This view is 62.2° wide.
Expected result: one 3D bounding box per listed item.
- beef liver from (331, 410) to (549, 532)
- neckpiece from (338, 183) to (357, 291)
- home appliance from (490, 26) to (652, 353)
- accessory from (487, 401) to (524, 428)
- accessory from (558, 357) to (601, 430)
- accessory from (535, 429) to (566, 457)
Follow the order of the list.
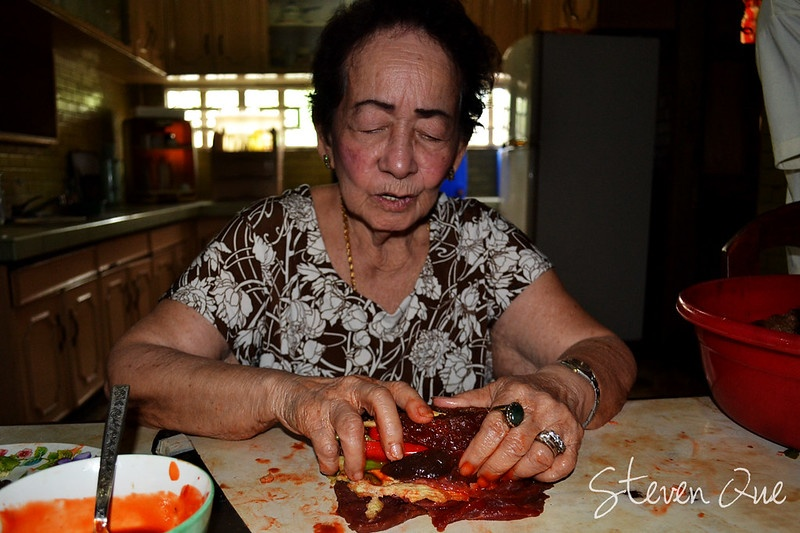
[{"bbox_3d":[0.104,0.507,1.669,0.535,0.210,0.246,-1,8,-7],"label":"beef liver"},{"bbox_3d":[-0.170,-0.092,2.136,0.037,0.344,0.068,-5,-12,-6],"label":"neckpiece"},{"bbox_3d":[1.308,-0.522,5.018,1.001,2.041,1.139,-1,11,-1],"label":"home appliance"},{"bbox_3d":[0.278,0.386,1.707,0.056,0.046,0.076,-5,-17,-13],"label":"accessory"},{"bbox_3d":[0.511,0.358,1.865,0.090,0.164,0.124,-2,8,-15],"label":"accessory"},{"bbox_3d":[0.380,0.451,1.691,0.054,0.023,0.061,18,26,-53],"label":"accessory"}]
